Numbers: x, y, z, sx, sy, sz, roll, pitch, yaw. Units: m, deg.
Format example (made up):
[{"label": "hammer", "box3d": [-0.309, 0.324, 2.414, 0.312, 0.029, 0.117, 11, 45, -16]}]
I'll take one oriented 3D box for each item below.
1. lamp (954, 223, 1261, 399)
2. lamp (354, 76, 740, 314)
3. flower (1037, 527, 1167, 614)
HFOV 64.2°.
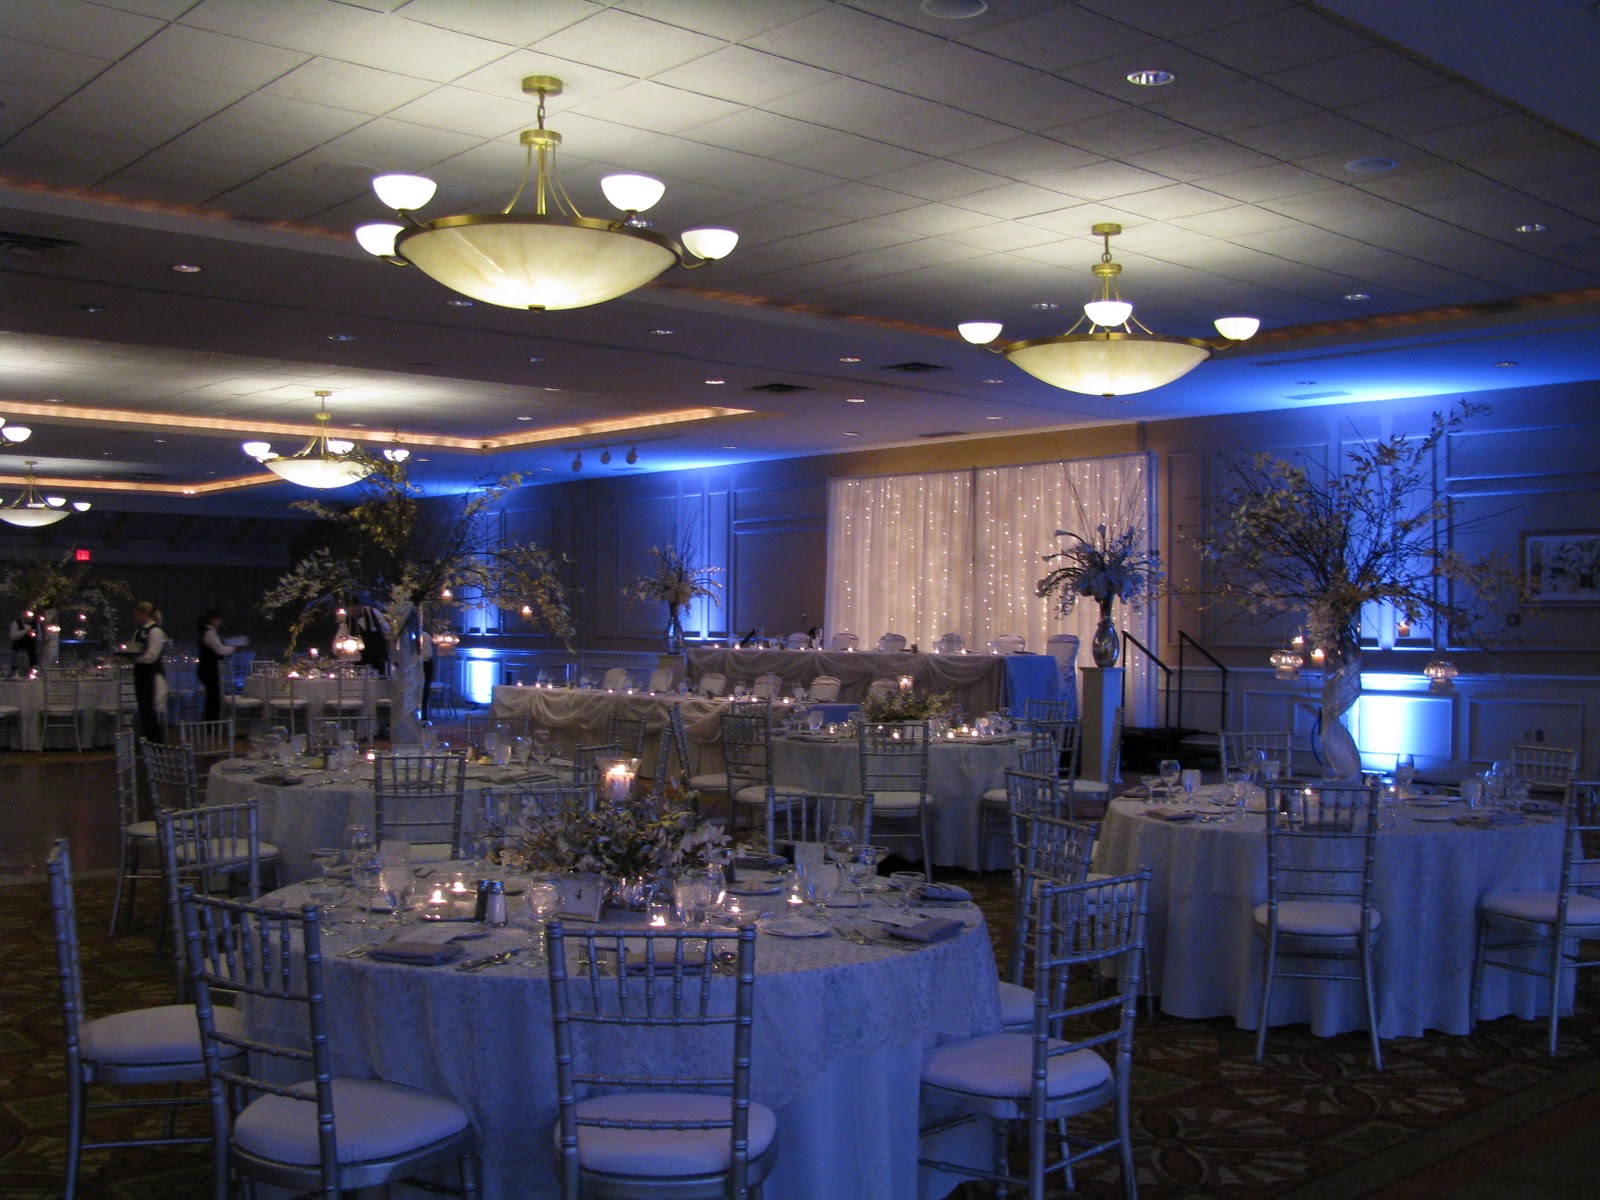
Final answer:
[{"label": "lamp", "box3d": [2.033, -1.982, 8.604, 1.744, 0.803, 1.517, -2, -10, 14]}, {"label": "lamp", "box3d": [-1.172, -1.875, 6.462, 1.385, 0.915, 1.719, -3, -12, 16]}, {"label": "flower", "box3d": [2.980, -0.318, 13.053, 1.539, 0.702, 1.383, 1, -2, -27]}]
